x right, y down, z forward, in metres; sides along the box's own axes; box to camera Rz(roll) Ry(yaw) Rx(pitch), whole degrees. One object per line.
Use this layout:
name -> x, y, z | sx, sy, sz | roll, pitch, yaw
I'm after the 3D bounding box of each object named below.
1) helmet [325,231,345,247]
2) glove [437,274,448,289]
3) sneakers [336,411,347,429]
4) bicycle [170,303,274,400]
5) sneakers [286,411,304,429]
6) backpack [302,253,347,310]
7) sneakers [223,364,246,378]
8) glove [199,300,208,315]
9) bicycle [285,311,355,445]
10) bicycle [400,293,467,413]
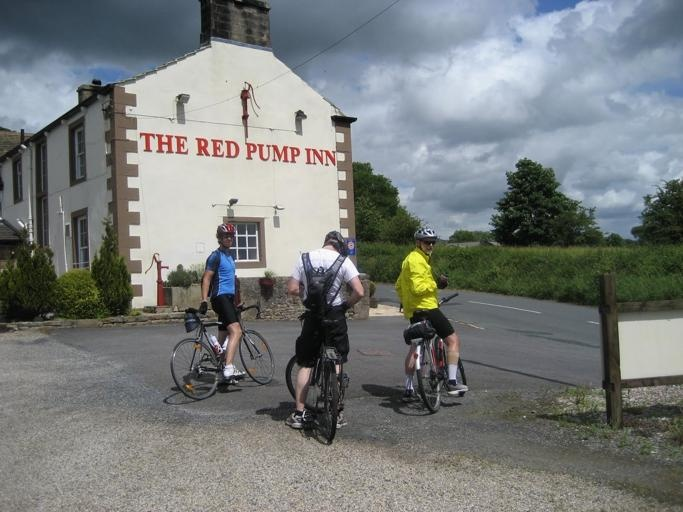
helmet -> -0.094, -0.288, 7.360 | 0.161, 0.268, 0.229 | 3, 6, 0
glove -> 1.415, 0.340, 8.135 | 0.081, 0.188, 0.296 | 2, 1, 11
sneakers -> -0.008, 2.017, 7.129 | 0.080, 0.135, 0.266 | 1, 2, 7
bicycle -> -1.875, 1.419, 8.835 | 0.592, 1.339, 1.839 | -3, -2, 32
sneakers -> -0.577, 1.994, 7.038 | 0.227, 0.225, 0.200 | -1, -2, -1
backpack -> -0.219, 0.298, 7.052 | 0.546, 0.730, 0.359 | -1, -2, -4
sneakers -> -1.647, 1.767, 8.813 | 0.124, 0.195, 0.387 | 3, 5, 31
glove -> -2.005, 0.725, 8.351 | 0.088, 0.196, 0.283 | -1, -2, -4
bicycle -> -0.254, 1.611, 7.185 | 0.598, 1.037, 1.562 | 1, 12, -14
bicycle -> 1.229, 1.541, 8.021 | 0.736, 1.115, 1.599 | -11, -15, 19
